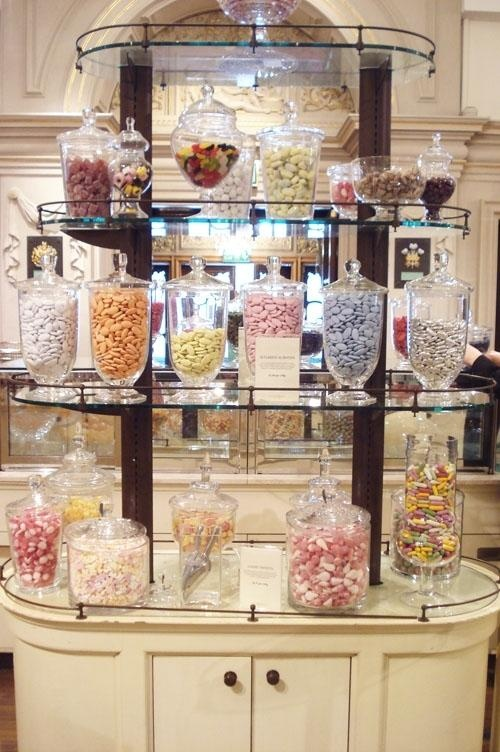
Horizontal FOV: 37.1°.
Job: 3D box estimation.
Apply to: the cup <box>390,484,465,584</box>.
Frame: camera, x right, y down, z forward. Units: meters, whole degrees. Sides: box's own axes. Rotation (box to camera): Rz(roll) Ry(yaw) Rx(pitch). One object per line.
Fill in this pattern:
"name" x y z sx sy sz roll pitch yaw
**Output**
"cup" 0.422 0.401 1.905 0.228 0.237 0.223 1 -1 0
